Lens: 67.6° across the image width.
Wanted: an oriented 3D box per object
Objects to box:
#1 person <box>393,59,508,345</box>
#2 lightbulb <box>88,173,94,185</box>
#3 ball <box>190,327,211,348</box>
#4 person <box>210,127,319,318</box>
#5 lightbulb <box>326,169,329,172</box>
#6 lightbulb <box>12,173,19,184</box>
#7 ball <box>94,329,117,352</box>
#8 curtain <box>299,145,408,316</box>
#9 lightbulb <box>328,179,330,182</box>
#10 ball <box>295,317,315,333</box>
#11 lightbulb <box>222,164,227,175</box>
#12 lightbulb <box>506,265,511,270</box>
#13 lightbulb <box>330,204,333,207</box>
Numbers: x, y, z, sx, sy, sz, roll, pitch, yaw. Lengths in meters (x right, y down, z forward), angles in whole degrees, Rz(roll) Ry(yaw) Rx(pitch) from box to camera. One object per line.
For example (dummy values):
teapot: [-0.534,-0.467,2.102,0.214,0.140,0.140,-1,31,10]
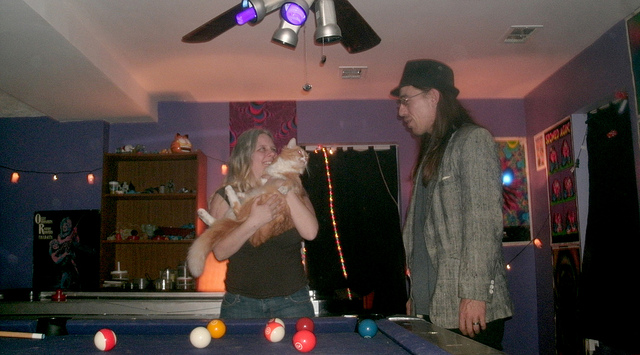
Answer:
person: [1.190,0.169,4.366,0.879,2.611,0.346,-3,-10,17]
lightbulb: [-3.491,0.024,7.285,0.087,0.146,0.130,5,-10,-25]
ball: [-1.018,1.352,4.046,0.167,0.174,0.157,-8,-24,-4]
person: [-0.565,0.402,4.827,1.071,1.947,0.624,1,-9,-4]
lightbulb: [0.105,-0.107,7.394,0.046,0.041,0.044,-2,1,-18]
lightbulb: [-4.635,0.010,7.276,0.080,0.152,0.156,6,-11,-30]
ball: [-1.795,1.342,4.059,0.181,0.165,0.173,1,7,0]
curtain: [0.528,0.739,7.253,1.481,2.526,0.318,2,-10,-8]
lightbulb: [0.136,0.041,7.367,0.042,0.037,0.040,11,-17,-28]
ball: [-0.135,1.301,4.234,0.136,0.143,0.125,-1,-41,-1]
lightbulb: [-1.478,-0.129,7.401,0.082,0.156,0.047,-1,-9,7]
lightbulb: [2.879,1.371,7.308,0.059,0.067,0.024,6,-11,-32]
lightbulb: [0.167,0.418,7.297,0.032,0.037,0.013,3,-9,-9]
